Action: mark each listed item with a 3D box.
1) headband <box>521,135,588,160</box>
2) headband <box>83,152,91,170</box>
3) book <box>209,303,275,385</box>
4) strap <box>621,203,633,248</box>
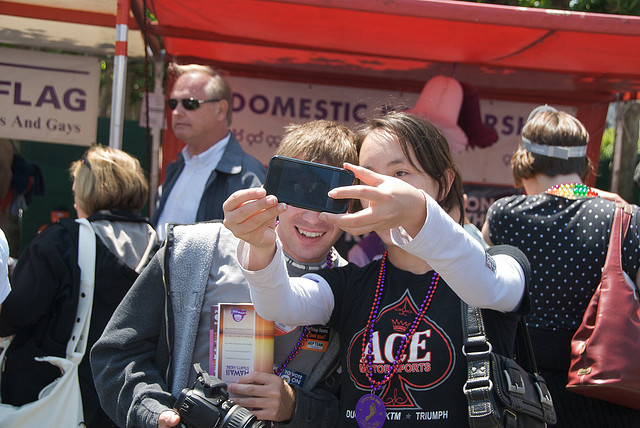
[{"bbox_3d":[1.700,-0.479,5.110,0.450,0.154,0.164,5,5,17],"label":"headband"},{"bbox_3d":[-1.824,-0.408,5.477,0.023,0.093,0.065,-33,41,-24],"label":"headband"},{"bbox_3d":[-0.451,0.773,4.117,0.418,0.595,0.055,0,-7,0],"label":"book"},{"bbox_3d":[2.005,0.054,4.609,0.044,0.214,0.141,9,-9,-2],"label":"strap"}]
